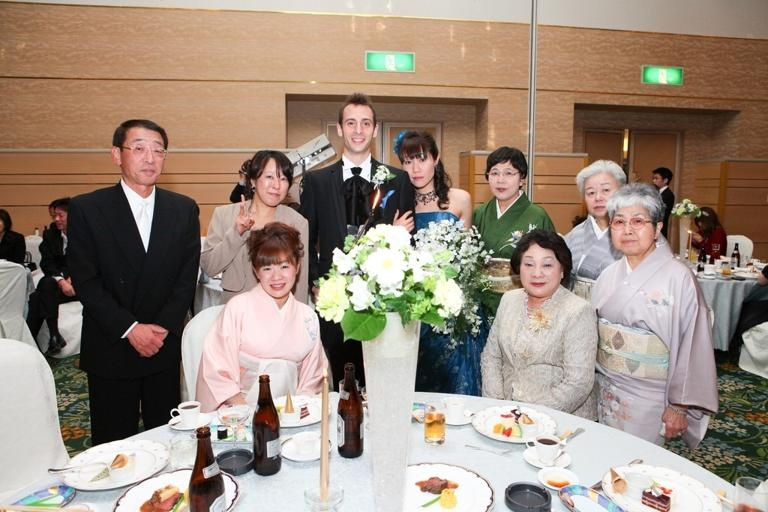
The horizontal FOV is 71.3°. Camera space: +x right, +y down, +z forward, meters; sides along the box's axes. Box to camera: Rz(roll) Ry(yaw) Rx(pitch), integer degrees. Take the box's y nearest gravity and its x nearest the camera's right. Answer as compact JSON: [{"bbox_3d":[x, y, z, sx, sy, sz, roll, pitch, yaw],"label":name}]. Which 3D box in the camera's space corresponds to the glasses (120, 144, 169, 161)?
[{"bbox_3d":[-1.493,-0.649,3.349,0.246,0.096,0.118,-4,10,-24],"label":"glasses"}]

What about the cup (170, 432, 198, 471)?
[{"bbox_3d":[-0.918,0.924,2.513,0.121,0.134,0.151,1,0,-4],"label":"cup"}]

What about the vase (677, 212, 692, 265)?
[{"bbox_3d":[3.812,-0.302,6.774,0.097,0.384,0.099,-1,-8,-34],"label":"vase"}]

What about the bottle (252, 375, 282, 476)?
[{"bbox_3d":[-0.541,0.774,2.466,0.124,0.412,0.211,-3,11,-11],"label":"bottle"}]

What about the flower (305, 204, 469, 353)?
[{"bbox_3d":[0.000,0.114,2.354,0.593,0.368,0.590,-26,29,2],"label":"flower"}]

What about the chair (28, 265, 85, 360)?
[{"bbox_3d":[-3.560,0.888,5.857,0.355,0.209,0.631,-39,-12,-33],"label":"chair"}]

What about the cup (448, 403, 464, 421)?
[{"bbox_3d":[0.361,0.782,2.685,0.086,0.056,0.069,-4,-1,26],"label":"cup"}]

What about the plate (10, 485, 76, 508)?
[{"bbox_3d":[-1.458,1.051,2.322,0.139,0.026,0.094,-4,27,-23],"label":"plate"}]

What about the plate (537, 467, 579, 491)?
[{"bbox_3d":[0.769,0.990,2.379,0.110,0.023,0.105,-6,13,-7],"label":"plate"}]

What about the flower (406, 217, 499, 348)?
[{"bbox_3d":[0.470,0.049,3.770,0.585,0.309,0.563,-12,28,22],"label":"flower"}]

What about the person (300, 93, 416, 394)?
[{"bbox_3d":[-0.171,0.178,3.909,0.900,2.410,0.677,-7,17,-26],"label":"person"}]

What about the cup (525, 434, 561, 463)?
[{"bbox_3d":[0.755,0.888,2.503,0.136,0.090,0.109,6,9,42],"label":"cup"}]
